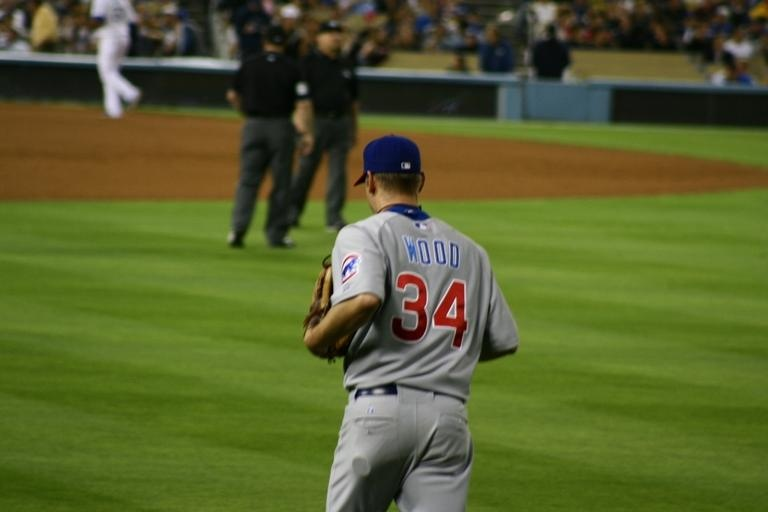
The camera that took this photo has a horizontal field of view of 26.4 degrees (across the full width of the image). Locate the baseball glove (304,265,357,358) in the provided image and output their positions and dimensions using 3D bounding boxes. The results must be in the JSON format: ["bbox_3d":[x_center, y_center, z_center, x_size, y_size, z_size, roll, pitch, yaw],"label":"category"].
[{"bbox_3d":[-0.403,0.395,12.152,0.208,0.633,0.454,-4,-16,-3],"label":"baseball glove"}]

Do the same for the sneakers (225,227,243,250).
[{"bbox_3d":[-1.377,-0.168,15.210,0.165,0.161,0.144,-3,23,-10],"label":"sneakers"}]

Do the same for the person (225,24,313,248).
[{"bbox_3d":[-1.047,-1.097,15.110,0.734,2.065,0.238,-1,11,-17],"label":"person"}]

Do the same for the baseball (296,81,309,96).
[{"bbox_3d":[-0.745,-1.554,15.041,0.127,0.123,0.199,5,-5,-4],"label":"baseball"}]

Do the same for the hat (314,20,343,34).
[{"bbox_3d":[-0.471,-2.119,14.935,0.213,0.111,0.148,2,11,-4],"label":"hat"}]
